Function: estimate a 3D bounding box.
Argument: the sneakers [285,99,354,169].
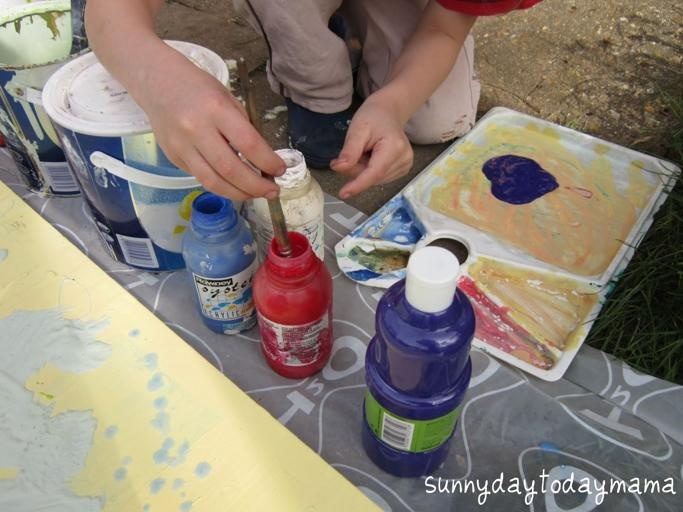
[{"bbox_3d":[-0.085,-0.354,1.861,0.218,0.262,0.235,3,44,-10],"label":"sneakers"}]
